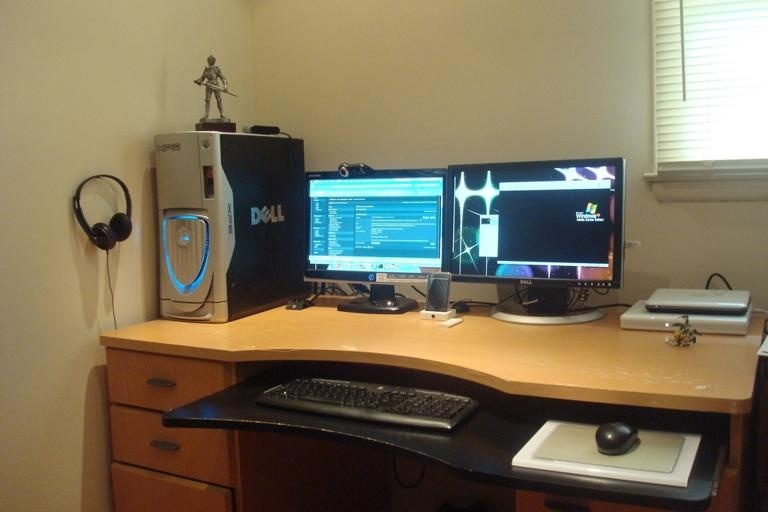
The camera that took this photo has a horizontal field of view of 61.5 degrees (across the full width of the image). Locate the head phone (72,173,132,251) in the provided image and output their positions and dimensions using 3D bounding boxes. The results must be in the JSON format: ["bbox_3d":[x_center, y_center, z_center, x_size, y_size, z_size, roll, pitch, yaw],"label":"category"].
[{"bbox_3d":[-1.053,-0.164,2.388,0.112,0.296,0.247,-13,1,27],"label":"head phone"}]

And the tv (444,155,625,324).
[{"bbox_3d":[0.578,-0.087,2.700,0.916,0.813,0.532,1,2,20],"label":"tv"}]

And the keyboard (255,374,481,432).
[{"bbox_3d":[-0.059,0.456,2.034,0.682,0.064,0.182,2,10,18],"label":"keyboard"}]

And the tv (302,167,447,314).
[{"bbox_3d":[-0.030,-0.081,2.596,0.577,0.572,0.212,1,2,14],"label":"tv"}]
